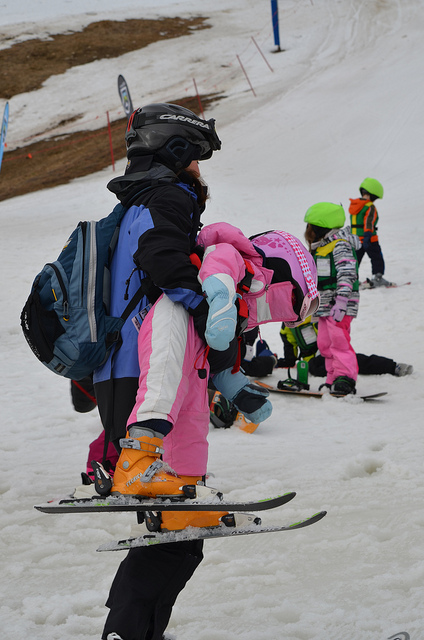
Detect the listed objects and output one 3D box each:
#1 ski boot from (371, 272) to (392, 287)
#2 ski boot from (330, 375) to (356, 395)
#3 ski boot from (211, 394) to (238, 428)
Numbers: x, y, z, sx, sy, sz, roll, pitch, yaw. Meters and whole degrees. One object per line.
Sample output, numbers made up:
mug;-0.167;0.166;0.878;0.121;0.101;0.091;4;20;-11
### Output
ski boot;2.008;-0.482;8.450;0.234;0.128;0.133;16;-1;-5
ski boot;0.975;0.485;5.231;0.122;0.129;0.315;0;-8;11
ski boot;0.094;0.651;4.842;0.146;0.207;0.132;-3;26;28
